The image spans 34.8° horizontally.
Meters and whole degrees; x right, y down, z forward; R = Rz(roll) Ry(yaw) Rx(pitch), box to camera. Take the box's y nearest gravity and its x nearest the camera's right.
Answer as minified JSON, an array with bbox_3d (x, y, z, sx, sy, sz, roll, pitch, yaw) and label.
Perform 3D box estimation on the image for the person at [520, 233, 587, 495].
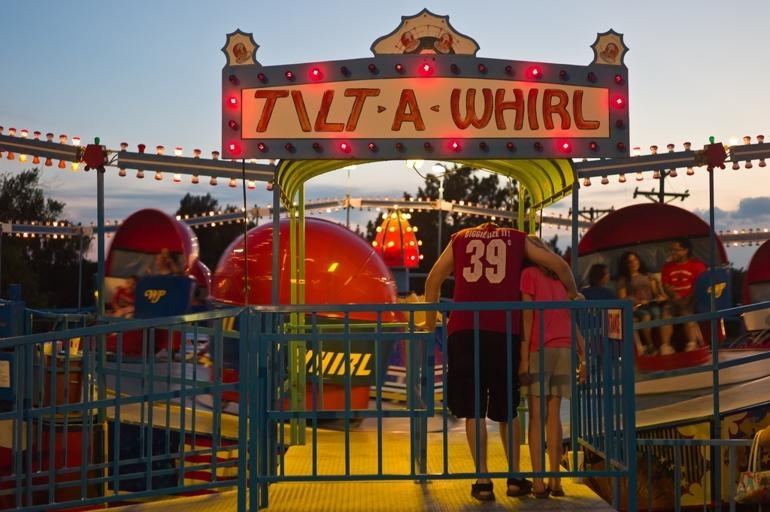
[{"bbox_3d":[2.703,1.731,19.802,1.065,4.184,0.765,1,-9,-9],"label":"person"}]

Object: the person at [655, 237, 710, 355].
[{"bbox_3d":[6.097,0.808,25.127,0.960,2.348,0.293,-3,-10,13],"label":"person"}]

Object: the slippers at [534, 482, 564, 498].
[{"bbox_3d":[2.643,3.727,19.718,0.563,0.195,0.196,-4,5,-28],"label":"slippers"}]

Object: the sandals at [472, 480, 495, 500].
[{"bbox_3d":[1.600,3.730,19.792,0.211,0.282,0.423,2,3,0],"label":"sandals"}]

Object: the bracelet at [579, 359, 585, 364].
[{"bbox_3d":[3.227,1.710,20.043,0.058,0.023,0.080,27,-21,-29],"label":"bracelet"}]

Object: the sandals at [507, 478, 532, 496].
[{"bbox_3d":[2.171,3.676,19.793,0.421,0.247,0.204,-4,6,-42],"label":"sandals"}]
